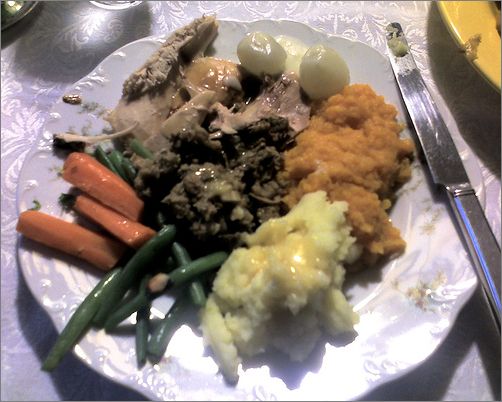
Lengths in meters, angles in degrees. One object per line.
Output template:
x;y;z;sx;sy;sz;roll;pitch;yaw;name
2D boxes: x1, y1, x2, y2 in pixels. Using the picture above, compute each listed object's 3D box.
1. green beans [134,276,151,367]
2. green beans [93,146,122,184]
-0.529;0.589;2.438;0.052;0.058;0.483;2;73;-6;green beans
-0.809;-0.221;2.765;0.077;0.056;0.283;-42;76;12;green beans
